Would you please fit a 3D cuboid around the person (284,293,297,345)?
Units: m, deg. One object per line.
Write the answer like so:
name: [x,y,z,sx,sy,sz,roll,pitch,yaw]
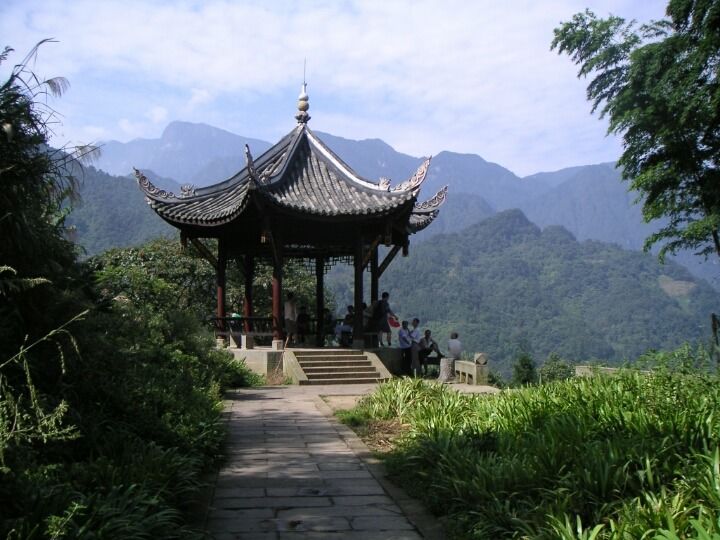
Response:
person: [-1.748,1.232,15.839,0.294,1.347,0.973,-1,-3,-7]
